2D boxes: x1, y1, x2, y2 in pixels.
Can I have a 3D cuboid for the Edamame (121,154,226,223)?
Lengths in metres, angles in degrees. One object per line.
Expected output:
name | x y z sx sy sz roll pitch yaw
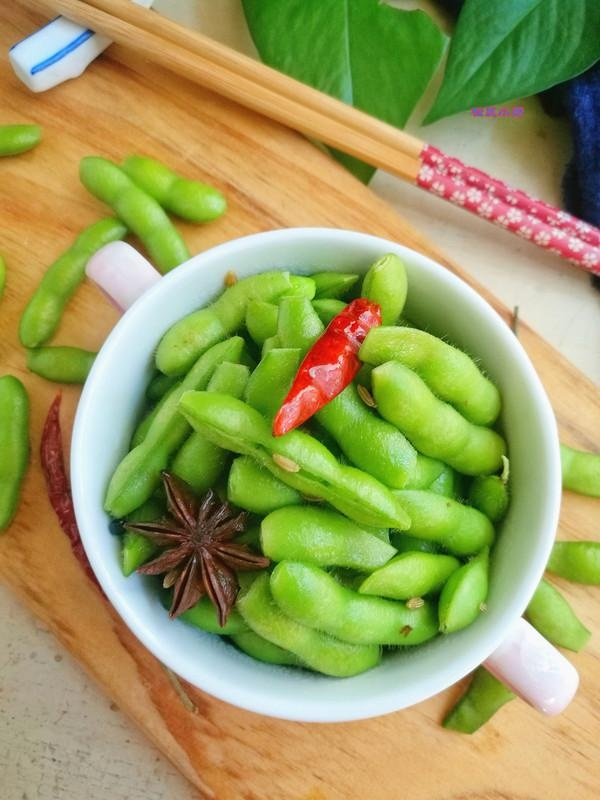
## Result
Edamame | -0.161 -0.265 0.939 0.154 0.050 0.060 32 80 3
